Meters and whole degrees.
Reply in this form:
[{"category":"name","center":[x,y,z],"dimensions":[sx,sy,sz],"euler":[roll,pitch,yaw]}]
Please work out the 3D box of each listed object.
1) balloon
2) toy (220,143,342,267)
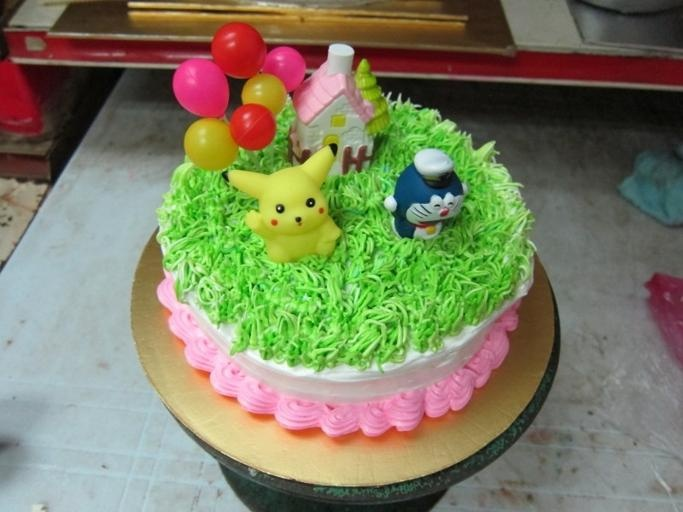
[{"category":"balloon","center":[-0.534,-0.795,3.123],"dimensions":[0.655,0.275,0.718],"euler":[26,77,-32]},{"category":"toy","center":[-0.222,-0.210,3.044],"dimensions":[0.490,0.547,0.336],"euler":[-13,35,-6]}]
